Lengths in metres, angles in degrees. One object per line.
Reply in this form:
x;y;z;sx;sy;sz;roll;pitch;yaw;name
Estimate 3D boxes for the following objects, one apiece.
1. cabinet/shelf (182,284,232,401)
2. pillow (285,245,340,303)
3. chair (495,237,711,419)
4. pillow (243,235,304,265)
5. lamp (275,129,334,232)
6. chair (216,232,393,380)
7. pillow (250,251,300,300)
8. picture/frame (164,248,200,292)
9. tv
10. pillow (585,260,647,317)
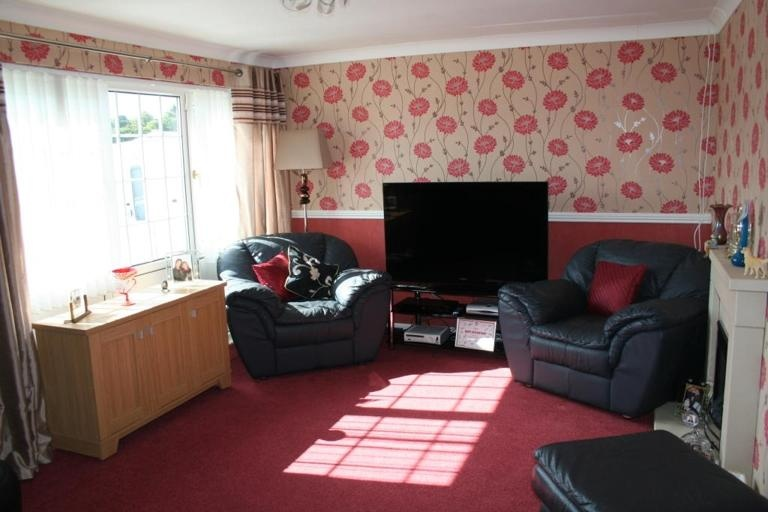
-1.520;0.722;4.360;0.151;0.943;0.494;3;14;24;cabinet/shelf
-0.749;0.154;5.068;0.191;0.643;0.675;-18;-13;35;pillow
1.895;0.527;4.326;1.496;1.174;1.068;7;16;35;chair
-1.209;-0.094;5.158;0.376;0.106;0.344;-16;38;-35;pillow
-0.884;-0.823;5.595;0.595;1.127;0.583;-5;13;-9;lamp
-0.876;0.422;5.033;1.639;1.102;1.370;-7;14;-36;chair
-1.068;0.238;4.938;0.445;0.404;0.131;-20;-16;-50;pillow
-1.782;0.116;4.404;0.361;0.373;0.256;1;6;1;picture/frame
0.853;-0.192;4.919;1.188;0.796;0.306;1;6;20;tv
2.001;0.297;4.425;0.270;0.456;0.490;-12;10;-19;pillow
